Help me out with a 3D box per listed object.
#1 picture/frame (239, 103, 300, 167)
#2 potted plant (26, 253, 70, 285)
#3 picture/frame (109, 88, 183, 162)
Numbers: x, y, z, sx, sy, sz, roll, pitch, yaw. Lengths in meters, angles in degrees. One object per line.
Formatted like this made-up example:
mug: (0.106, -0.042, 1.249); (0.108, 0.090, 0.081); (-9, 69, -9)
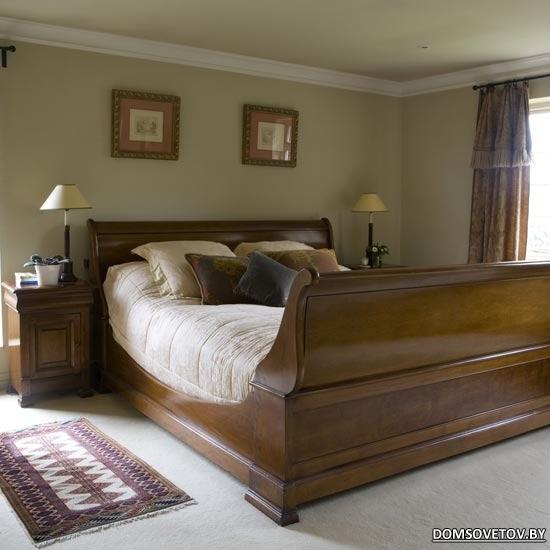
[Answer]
picture/frame: (-0.081, -1.329, 4.508); (0.648, 0.584, 0.072); (-2, 8, -34)
potted plant: (-1.599, -0.039, 3.392); (0.287, 0.193, 0.235); (0, 3, 12)
picture/frame: (-1.079, -1.229, 3.878); (0.652, 0.629, 0.069); (-1, 3, -36)
